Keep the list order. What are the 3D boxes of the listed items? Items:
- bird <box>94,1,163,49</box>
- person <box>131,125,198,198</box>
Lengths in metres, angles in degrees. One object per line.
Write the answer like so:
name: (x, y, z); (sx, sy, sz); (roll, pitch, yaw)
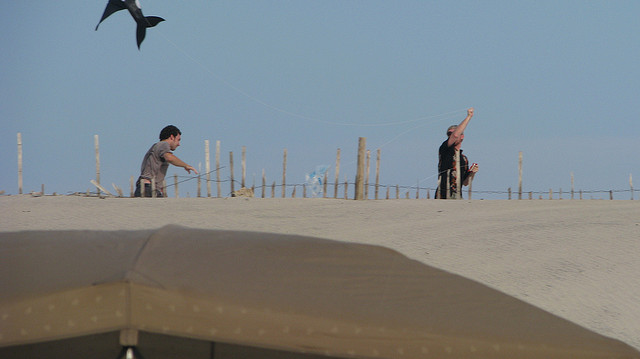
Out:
bird: (-3.352, -2.811, 20.616); (0.686, 0.649, 1.517); (1, -3, 8)
person: (-2.245, 0.052, 16.539); (0.807, 1.695, 0.994); (0, 2, -26)
